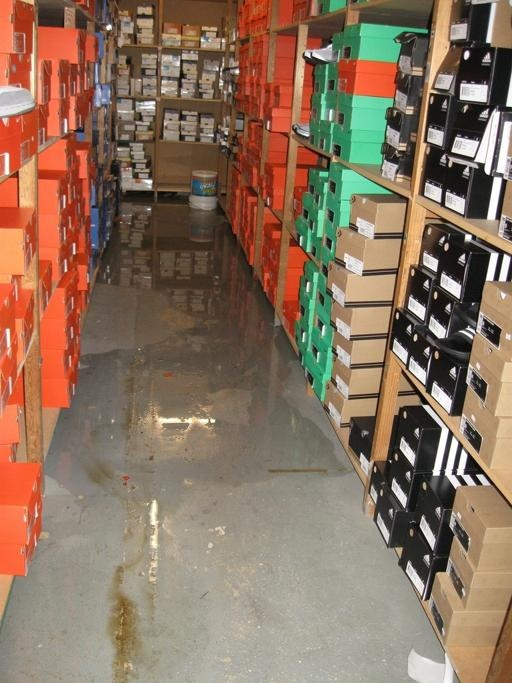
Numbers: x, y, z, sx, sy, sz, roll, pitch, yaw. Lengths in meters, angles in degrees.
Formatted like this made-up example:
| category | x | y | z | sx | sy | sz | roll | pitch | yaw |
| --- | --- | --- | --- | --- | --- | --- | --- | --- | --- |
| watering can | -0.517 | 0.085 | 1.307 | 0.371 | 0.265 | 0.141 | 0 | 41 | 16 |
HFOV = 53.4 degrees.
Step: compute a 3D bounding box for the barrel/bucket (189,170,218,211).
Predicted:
| category | x | y | z | sx | sy | sz | roll | pitch | yaw |
| --- | --- | --- | --- | --- | --- | --- | --- | --- | --- |
| barrel/bucket | -0.739 | -1.982 | 6.771 | 0.403 | 0.550 | 0.453 | -8 | 28 | -27 |
